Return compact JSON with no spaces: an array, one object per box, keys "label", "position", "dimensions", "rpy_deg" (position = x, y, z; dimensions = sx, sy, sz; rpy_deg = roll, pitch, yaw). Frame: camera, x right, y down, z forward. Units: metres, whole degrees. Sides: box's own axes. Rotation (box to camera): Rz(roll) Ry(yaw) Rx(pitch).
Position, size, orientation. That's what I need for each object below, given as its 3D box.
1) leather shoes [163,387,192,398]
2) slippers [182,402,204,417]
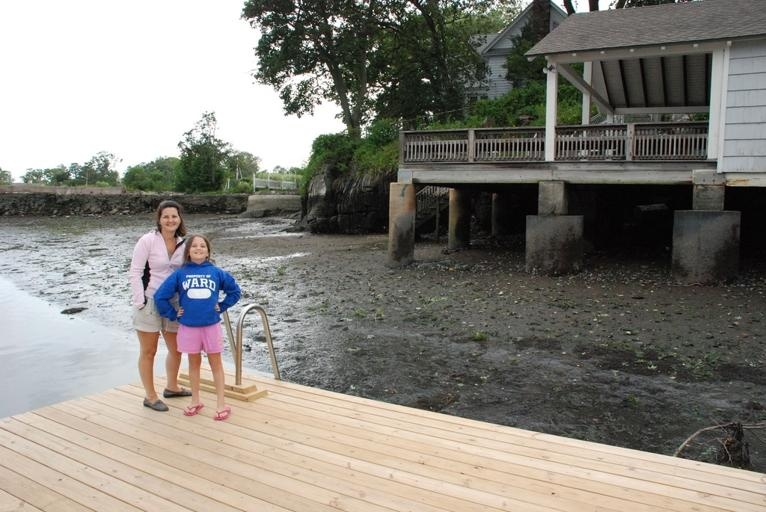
[{"label":"leather shoes","position":[-2.815,1.892,7.629],"dimensions":[0.442,0.117,0.151],"rpy_deg":[0,1,-20]},{"label":"slippers","position":[-2.470,2.001,7.172],"dimensions":[0.123,0.047,0.216],"rpy_deg":[9,12,27]}]
